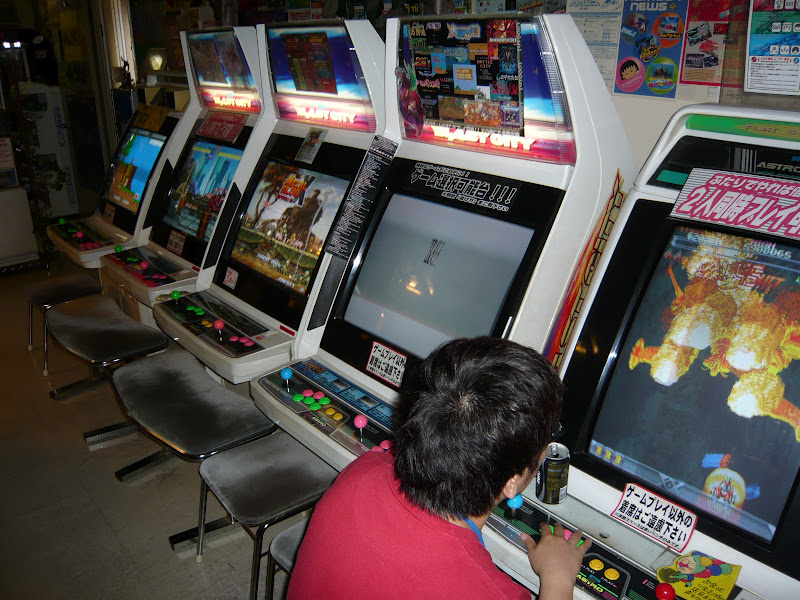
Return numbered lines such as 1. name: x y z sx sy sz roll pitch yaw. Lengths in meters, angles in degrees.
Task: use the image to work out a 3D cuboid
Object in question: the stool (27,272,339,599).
1. stool: -1.008 0.649 2.300 0.777 0.532 1.591 -22 70 -37
